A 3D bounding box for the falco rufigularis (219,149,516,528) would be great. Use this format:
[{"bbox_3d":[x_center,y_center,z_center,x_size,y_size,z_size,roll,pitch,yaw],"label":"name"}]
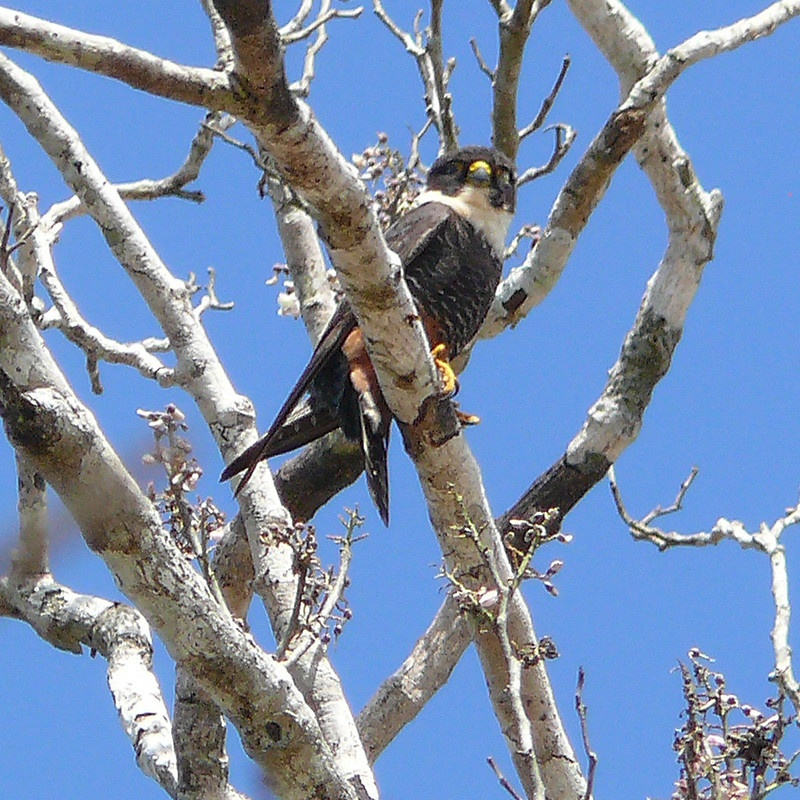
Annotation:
[{"bbox_3d":[-0.032,-0.225,7.070,0.704,2.432,0.683,3,-49,9],"label":"falco rufigularis"}]
